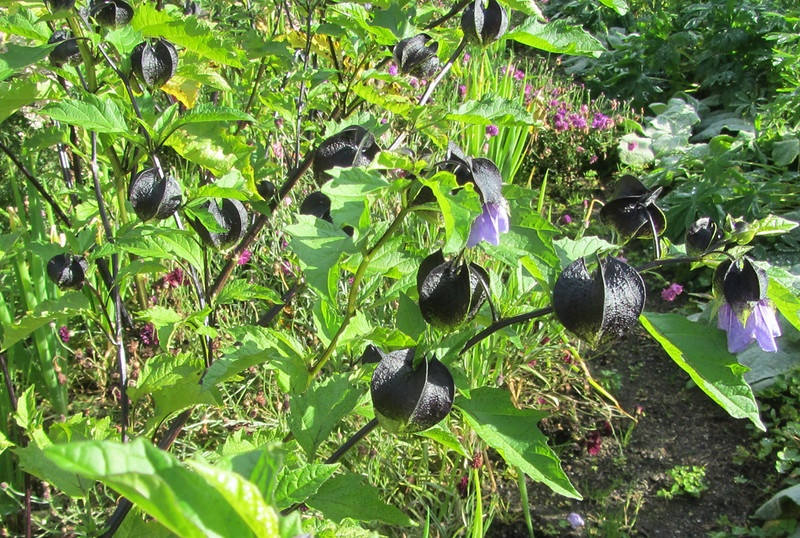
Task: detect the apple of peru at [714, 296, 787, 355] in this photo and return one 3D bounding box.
[{"bbox_3d":[0.945,0.154,1.867,0.147,0.151,0.080,-1,4,5],"label":"apple of peru"}]

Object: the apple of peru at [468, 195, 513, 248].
[{"bbox_3d":[0.226,-0.124,1.787,0.050,0.121,0.123,42,0,-16],"label":"apple of peru"}]

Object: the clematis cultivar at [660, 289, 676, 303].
[{"bbox_3d":[1.468,0.136,3.688,0.081,0.039,0.079,7,-28,-31],"label":"clematis cultivar"}]
